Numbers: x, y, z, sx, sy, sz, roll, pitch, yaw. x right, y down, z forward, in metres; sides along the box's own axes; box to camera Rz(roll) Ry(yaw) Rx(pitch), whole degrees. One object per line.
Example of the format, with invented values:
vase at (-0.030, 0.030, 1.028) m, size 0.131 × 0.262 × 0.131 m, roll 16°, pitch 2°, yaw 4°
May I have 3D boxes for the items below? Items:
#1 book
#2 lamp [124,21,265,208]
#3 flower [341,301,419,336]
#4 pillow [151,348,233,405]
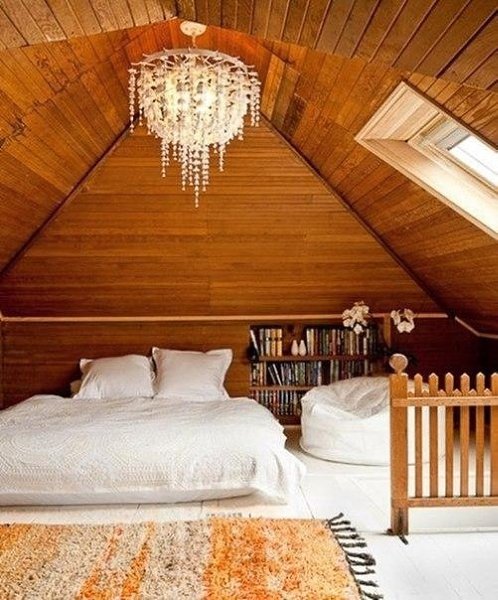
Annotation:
book at (0.599, 0.686, 4.726) m, size 1.081 × 0.807 × 0.283 m, roll -1°, pitch 6°, yaw -2°
lamp at (-0.369, -1.164, 2.679) m, size 0.663 × 0.769 × 0.594 m, roll 10°, pitch 39°, yaw 15°
flower at (1.226, 0.180, 4.816) m, size 0.676 × 0.316 × 0.502 m, roll 1°, pitch -1°, yaw 15°
pillow at (-0.515, 0.664, 4.444) m, size 0.735 × 0.644 × 0.146 m, roll 10°, pitch -44°, yaw -3°
